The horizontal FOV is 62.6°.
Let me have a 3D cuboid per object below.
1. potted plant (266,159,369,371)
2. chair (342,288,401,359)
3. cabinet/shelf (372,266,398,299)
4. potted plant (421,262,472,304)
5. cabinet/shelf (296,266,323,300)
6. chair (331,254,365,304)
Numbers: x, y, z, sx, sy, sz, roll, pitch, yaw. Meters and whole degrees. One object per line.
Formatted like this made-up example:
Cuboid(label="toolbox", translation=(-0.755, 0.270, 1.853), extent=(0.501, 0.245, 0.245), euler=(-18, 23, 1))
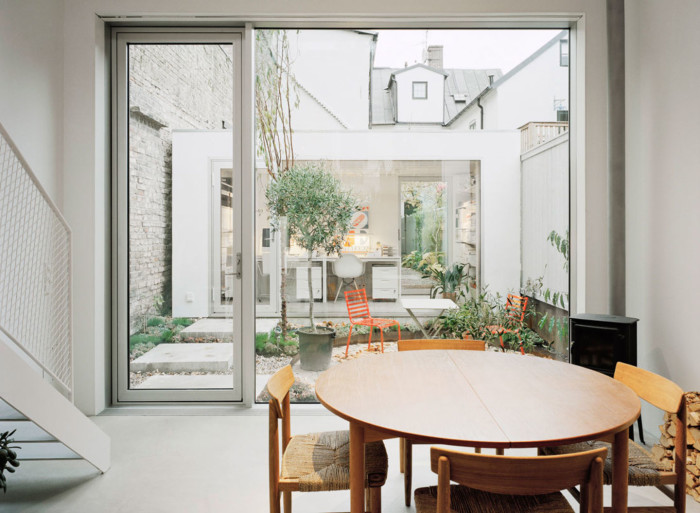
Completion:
Cuboid(label="potted plant", translation=(-0.330, 0.101, 5.187), extent=(0.785, 1.789, 0.456), euler=(-3, 14, -10))
Cuboid(label="chair", translation=(0.207, 0.597, 5.147), extent=(0.411, 0.611, 0.441), euler=(-3, 2, 22))
Cuboid(label="cabinet/shelf", translation=(0.307, 0.243, 5.281), extent=(0.256, 0.277, 0.206), euler=(0, 0, -6))
Cuboid(label="potted plant", translation=(0.907, 0.228, 5.259), extent=(0.343, 0.311, 0.366), euler=(0, -1, 1))
Cuboid(label="cabinet/shelf", translation=(-0.357, 0.226, 5.183), extent=(0.242, 0.338, 0.169), euler=(1, 6, 4))
Cuboid(label="chair", translation=(-0.007, 0.195, 5.278), extent=(0.294, 0.468, 0.312), euler=(1, 5, 0))
